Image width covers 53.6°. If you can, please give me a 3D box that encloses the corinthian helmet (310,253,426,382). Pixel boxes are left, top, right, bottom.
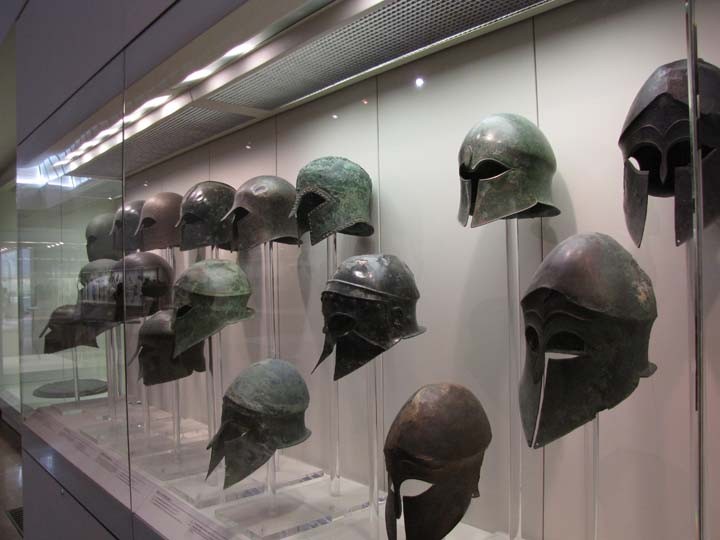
[{"bbox_3d":[0.049,0.134,2.347,0.297,0.404,0.370,4,1,45],"label":"corinthian helmet"}]

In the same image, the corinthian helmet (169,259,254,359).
[{"bbox_3d":[-0.572,0.138,2.728,0.319,0.395,0.279,-4,12,-41],"label":"corinthian helmet"}]

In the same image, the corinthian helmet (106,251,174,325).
[{"bbox_3d":[-0.873,0.076,2.832,0.284,0.341,0.231,-1,-23,-17],"label":"corinthian helmet"}]

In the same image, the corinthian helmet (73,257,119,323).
[{"bbox_3d":[-1.107,0.088,2.991,0.178,0.312,0.282,0,-9,-1],"label":"corinthian helmet"}]

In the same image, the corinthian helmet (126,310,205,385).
[{"bbox_3d":[-0.730,0.320,2.702,0.293,0.309,0.229,8,-13,-36],"label":"corinthian helmet"}]

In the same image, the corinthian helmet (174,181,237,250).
[{"bbox_3d":[-0.576,-0.197,2.726,0.230,0.286,0.184,0,-3,-29],"label":"corinthian helmet"}]

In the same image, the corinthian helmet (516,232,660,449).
[{"bbox_3d":[0.644,0.182,2.023,0.357,0.595,0.346,6,-1,-35],"label":"corinthian helmet"}]

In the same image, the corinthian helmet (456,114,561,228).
[{"bbox_3d":[0.479,-0.301,2.201,0.331,0.388,0.270,6,-5,-38],"label":"corinthian helmet"}]

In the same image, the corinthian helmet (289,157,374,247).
[{"bbox_3d":[-0.081,-0.206,2.465,0.276,0.336,0.238,4,-6,2],"label":"corinthian helmet"}]

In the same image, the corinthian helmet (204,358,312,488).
[{"bbox_3d":[-0.352,0.522,2.571,0.295,0.442,0.373,4,2,31],"label":"corinthian helmet"}]

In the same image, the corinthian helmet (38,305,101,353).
[{"bbox_3d":[-1.331,0.288,3.236,0.214,0.139,0.341,-3,3,-25],"label":"corinthian helmet"}]

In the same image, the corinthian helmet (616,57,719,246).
[{"bbox_3d":[0.804,-0.299,1.856,0.100,0.479,0.278,0,0,-27],"label":"corinthian helmet"}]

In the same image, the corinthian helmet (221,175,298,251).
[{"bbox_3d":[-0.349,-0.208,2.594,0.229,0.277,0.284,-6,-5,45],"label":"corinthian helmet"}]

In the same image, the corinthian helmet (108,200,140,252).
[{"bbox_3d":[-0.912,-0.165,2.841,0.159,0.205,0.141,-5,-4,-19],"label":"corinthian helmet"}]

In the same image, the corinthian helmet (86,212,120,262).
[{"bbox_3d":[-1.067,-0.143,2.974,0.162,0.197,0.124,-13,9,-25],"label":"corinthian helmet"}]

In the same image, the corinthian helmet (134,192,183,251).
[{"bbox_3d":[-0.770,-0.191,2.787,0.178,0.228,0.145,-4,6,-24],"label":"corinthian helmet"}]
